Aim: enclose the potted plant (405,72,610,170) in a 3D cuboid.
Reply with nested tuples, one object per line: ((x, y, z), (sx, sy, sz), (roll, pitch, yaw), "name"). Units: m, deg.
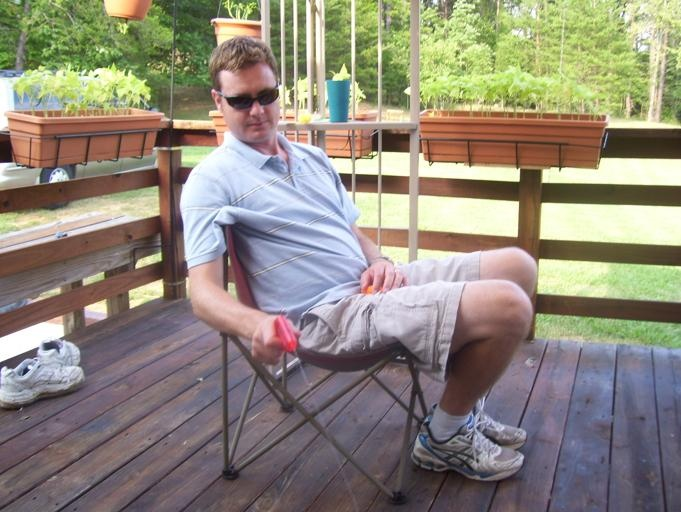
((0.757, -0.612, 2.222), (0.659, 0.377, 0.504), (4, 22, 16), "potted plant")

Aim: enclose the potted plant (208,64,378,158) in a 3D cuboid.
((-0.204, -0.637, 2.378), (0.645, 0.243, 0.460), (0, 8, 7), "potted plant")

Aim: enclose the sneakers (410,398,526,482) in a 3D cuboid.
((0.415, 0.554, 1.562), (0.271, 0.174, 0.228), (3, 16, 15), "sneakers")

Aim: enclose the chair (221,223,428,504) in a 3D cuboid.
((-0.058, 0.286, 1.774), (0.715, 1.073, 0.734), (1, 3, 9), "chair")

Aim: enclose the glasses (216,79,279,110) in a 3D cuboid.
((-0.268, -0.465, 1.431), (0.169, 0.068, 0.065), (-5, 18, -17), "glasses")

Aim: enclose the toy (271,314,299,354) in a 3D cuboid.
((-0.116, 0.169, 1.041), (0.029, 0.041, 0.118), (-7, 24, -10), "toy")

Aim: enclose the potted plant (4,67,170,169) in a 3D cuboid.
((-1.205, -0.692, 2.375), (0.658, 0.459, 0.699), (-6, 19, -21), "potted plant")

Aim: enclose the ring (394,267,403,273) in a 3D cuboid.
((0.182, 0.042, 1.543), (0.021, 0.021, 0.039), (0, -15, -3), "ring")
